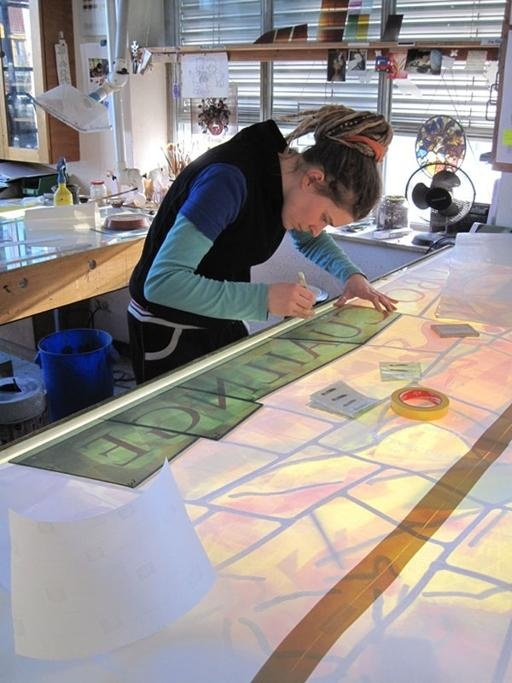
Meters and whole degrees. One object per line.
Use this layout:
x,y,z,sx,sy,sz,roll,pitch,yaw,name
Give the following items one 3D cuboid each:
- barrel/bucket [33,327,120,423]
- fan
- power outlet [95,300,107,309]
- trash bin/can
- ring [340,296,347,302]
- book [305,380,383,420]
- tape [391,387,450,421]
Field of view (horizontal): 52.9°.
-0.795,0.168,2.326,0.320,0.411,0.277,-6,23,-21,barrel/bucket
0.957,-0.702,2.690,0.329,0.429,0.642,9,18,20,fan
-1.177,-0.280,3.900,0.082,0.082,0.026,-9,39,41,power outlet
-0.833,0.149,2.315,0.311,0.389,0.261,-7,24,-18,trash bin/can
0.240,-0.119,1.421,0.018,0.016,0.013,15,20,33,ring
0.150,0.102,0.898,0.067,0.016,0.065,22,32,34,book
0.283,0.106,0.888,0.105,0.042,0.097,-1,23,-5,tape
